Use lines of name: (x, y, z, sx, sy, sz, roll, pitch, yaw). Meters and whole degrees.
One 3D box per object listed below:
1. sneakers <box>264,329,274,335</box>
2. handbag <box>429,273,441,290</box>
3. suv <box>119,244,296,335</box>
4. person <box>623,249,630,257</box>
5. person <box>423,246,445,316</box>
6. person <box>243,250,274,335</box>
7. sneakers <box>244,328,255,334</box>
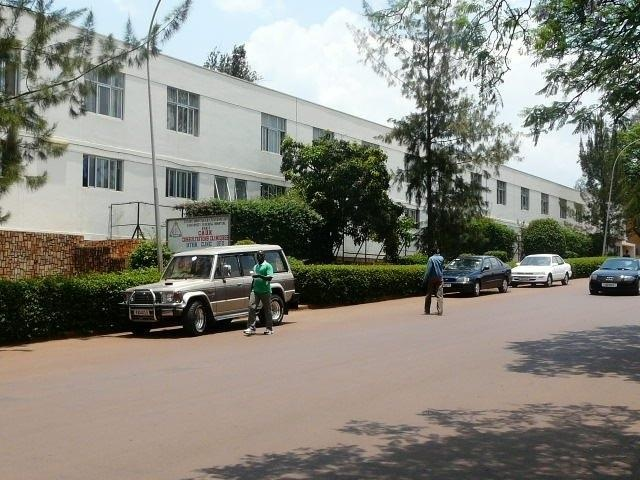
sneakers: (-1.280, 2.318, 15.942, 0.092, 0.106, 0.241, -3, -12, 17)
handbag: (3.644, 1.404, 19.995, 0.439, 0.610, 0.349, 0, 1, 8)
suv: (-2.976, 1.289, 17.351, 2.067, 1.989, 3.986, -5, -7, 38)
person: (41.779, 1.833, 86.311, 0.691, 1.490, 0.720, -2, -6, 43)
person: (3.610, 1.327, 20.111, 0.572, 2.024, 1.486, 0, 1, 10)
person: (-1.577, 1.349, 16.434, 0.690, 2.073, 1.351, 0, 1, -5)
sneakers: (-1.770, 2.308, 16.020, 0.275, 0.167, 0.249, 0, 1, -17)
